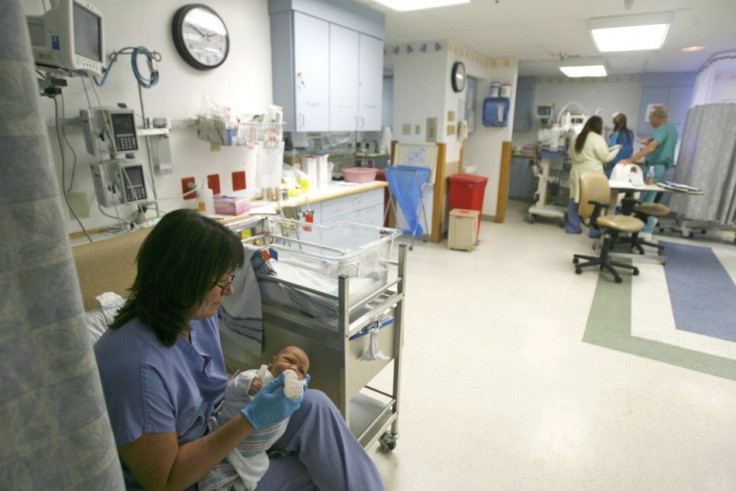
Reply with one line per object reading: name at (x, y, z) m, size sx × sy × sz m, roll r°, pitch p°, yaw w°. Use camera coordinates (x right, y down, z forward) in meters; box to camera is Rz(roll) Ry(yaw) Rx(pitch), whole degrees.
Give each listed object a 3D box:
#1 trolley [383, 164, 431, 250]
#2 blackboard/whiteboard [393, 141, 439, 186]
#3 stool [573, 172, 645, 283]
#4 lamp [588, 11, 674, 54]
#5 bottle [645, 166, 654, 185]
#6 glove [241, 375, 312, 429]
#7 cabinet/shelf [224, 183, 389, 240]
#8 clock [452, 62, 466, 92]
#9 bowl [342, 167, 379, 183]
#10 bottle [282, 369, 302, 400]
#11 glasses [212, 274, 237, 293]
trolley at (0.474, -0.550, 6.263) m, size 0.703 × 0.886 × 0.696 m, roll 0°, pitch 17°, yaw -13°
blackboard/whiteboard at (0.619, -1.007, 6.239) m, size 0.543 × 0.521 × 0.199 m, roll 12°, pitch 17°, yaw 38°
stool at (2.581, -0.236, 5.421) m, size 0.707 × 1.078 × 0.654 m, roll -9°, pitch 17°, yaw -36°
lamp at (2.807, -2.247, 5.378) m, size 0.720 × 0.194 × 1.320 m, roll 10°, pitch 18°, yaw 28°
bottle at (3.418, -0.852, 6.103) m, size 0.062 × 0.187 × 0.296 m, roll 9°, pitch 18°, yaw 25°
glove at (-0.396, 0.654, 2.106) m, size 0.222 × 0.161 × 0.121 m, roll -38°, pitch 53°, yaw -15°
cabinet/shelf at (-0.520, -0.272, 4.845) m, size 1.500 × 0.540 × 0.452 m, roll -16°, pitch 29°, yaw -27°
clock at (1.098, -2.058, 6.152) m, size 0.087 × 0.389 × 0.359 m, roll 8°, pitch 12°, yaw 22°
bowl at (-0.087, -0.754, 5.457) m, size 0.300 × 0.133 × 0.250 m, roll -12°, pitch 21°, yaw -39°
bottle at (-0.310, 0.557, 2.053) m, size 0.080 × 0.108 × 0.042 m, roll -5°, pitch 7°, yaw -4°
glasses at (-0.592, 0.158, 2.050) m, size 0.075 × 0.022 × 0.074 m, roll 2°, pitch 16°, yaw 20°
